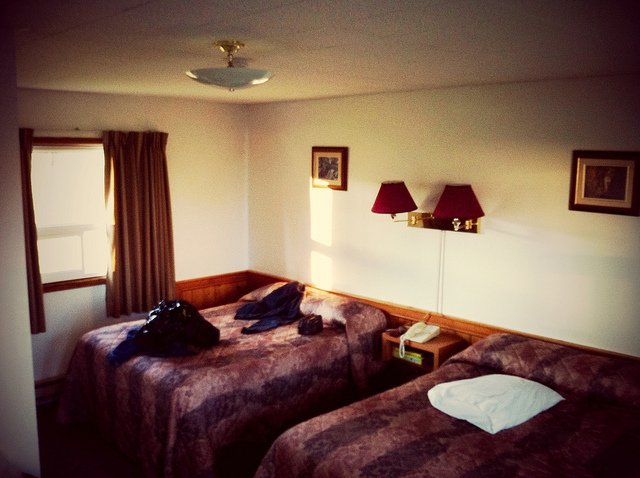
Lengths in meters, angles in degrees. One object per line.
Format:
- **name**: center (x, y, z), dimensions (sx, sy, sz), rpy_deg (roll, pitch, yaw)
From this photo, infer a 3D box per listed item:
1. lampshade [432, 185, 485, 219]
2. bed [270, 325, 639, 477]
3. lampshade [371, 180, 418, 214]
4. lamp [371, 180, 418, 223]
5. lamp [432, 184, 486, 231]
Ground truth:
- **lampshade**: center (1.168, -0.312, 4.071), dimensions (0.513, 0.299, 0.470), rpy_deg (0, 0, -24)
- **bed**: center (1.017, 1.044, 3.139), dimensions (2.278, 0.389, 1.172), rpy_deg (-1, 8, -4)
- **lampshade**: center (0.667, -0.379, 4.417), dimensions (0.582, 0.267, 0.585), rpy_deg (1, 11, 27)
- **lamp**: center (0.659, -0.359, 4.337), dimensions (0.325, 0.279, 0.312), rpy_deg (-3, 5, -32)
- **lamp**: center (1.128, -0.277, 3.902), dimensions (0.374, 0.339, 0.372), rpy_deg (-7, 10, -40)
